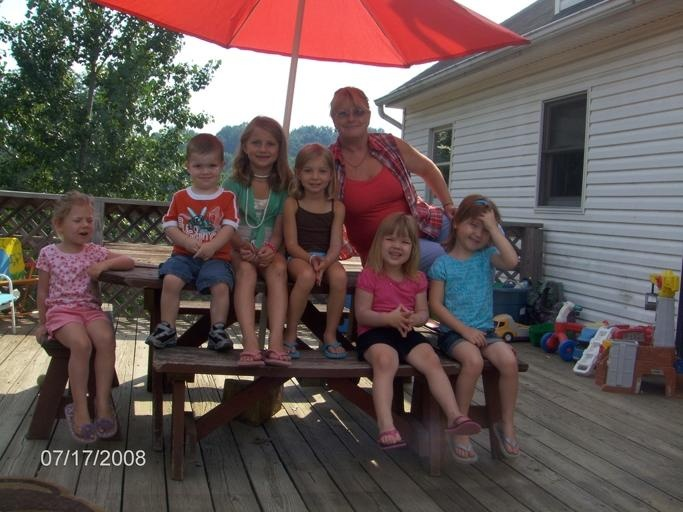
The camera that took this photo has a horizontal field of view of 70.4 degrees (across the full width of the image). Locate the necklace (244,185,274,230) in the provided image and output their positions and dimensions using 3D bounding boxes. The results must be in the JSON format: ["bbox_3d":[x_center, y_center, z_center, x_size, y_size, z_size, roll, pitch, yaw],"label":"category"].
[{"bbox_3d":[-0.548,-0.315,3.106,0.135,0.274,0.046,4,4,-18],"label":"necklace"}]

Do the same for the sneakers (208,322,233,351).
[{"bbox_3d":[-0.667,0.439,2.646,0.088,0.135,0.177,0,5,-30],"label":"sneakers"}]

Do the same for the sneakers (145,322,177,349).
[{"bbox_3d":[-0.996,0.427,2.655,0.137,0.130,0.168,2,4,-6],"label":"sneakers"}]

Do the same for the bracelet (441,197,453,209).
[{"bbox_3d":[0.778,-0.386,3.586,0.080,0.111,0.037,-1,-31,-30],"label":"bracelet"}]

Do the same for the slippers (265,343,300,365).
[{"bbox_3d":[-0.315,0.514,2.572,0.164,0.085,0.295,3,4,3],"label":"slippers"}]

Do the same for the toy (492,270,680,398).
[{"bbox_3d":[2.391,0.515,4.574,1.139,1.409,0.933,2,12,14],"label":"toy"}]

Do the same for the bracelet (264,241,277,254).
[{"bbox_3d":[-0.425,-0.056,2.886,0.056,0.031,0.076,31,2,-6],"label":"bracelet"}]

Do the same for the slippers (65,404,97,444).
[{"bbox_3d":[-1.422,0.934,2.630,0.123,0.067,0.274,-7,51,-43],"label":"slippers"}]

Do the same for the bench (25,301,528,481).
[{"bbox_3d":[-0.396,0.744,2.869,2.797,0.799,0.910,2,4,-11],"label":"bench"}]

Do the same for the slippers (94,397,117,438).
[{"bbox_3d":[-1.340,0.900,2.732,0.115,0.065,0.275,16,16,-33],"label":"slippers"}]

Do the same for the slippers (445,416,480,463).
[{"bbox_3d":[0.631,0.943,2.537,0.121,0.144,0.366,-2,-3,-2],"label":"slippers"}]

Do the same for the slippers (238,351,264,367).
[{"bbox_3d":[-0.453,0.512,2.443,0.127,0.071,0.119,2,4,-10],"label":"slippers"}]
